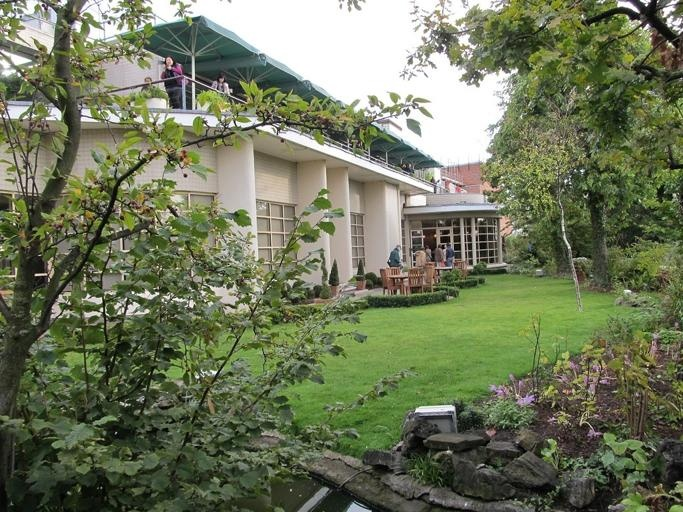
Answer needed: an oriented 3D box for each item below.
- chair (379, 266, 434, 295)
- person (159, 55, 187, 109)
[{"bbox_3d":[2.117,0.858,16.472,1.301,0.666,1.339,-2,-1,32],"label":"chair"},{"bbox_3d":[-4.479,-4.597,13.513,0.608,1.632,0.567,-6,-1,11],"label":"person"}]
